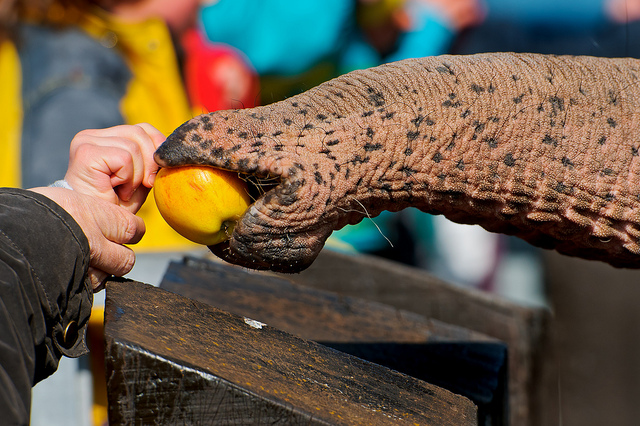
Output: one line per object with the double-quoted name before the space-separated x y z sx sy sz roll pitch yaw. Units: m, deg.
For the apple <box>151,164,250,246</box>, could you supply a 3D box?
"apple" -0.482 -0.058 4.436 0.347 0.270 0.258 33 56 19
